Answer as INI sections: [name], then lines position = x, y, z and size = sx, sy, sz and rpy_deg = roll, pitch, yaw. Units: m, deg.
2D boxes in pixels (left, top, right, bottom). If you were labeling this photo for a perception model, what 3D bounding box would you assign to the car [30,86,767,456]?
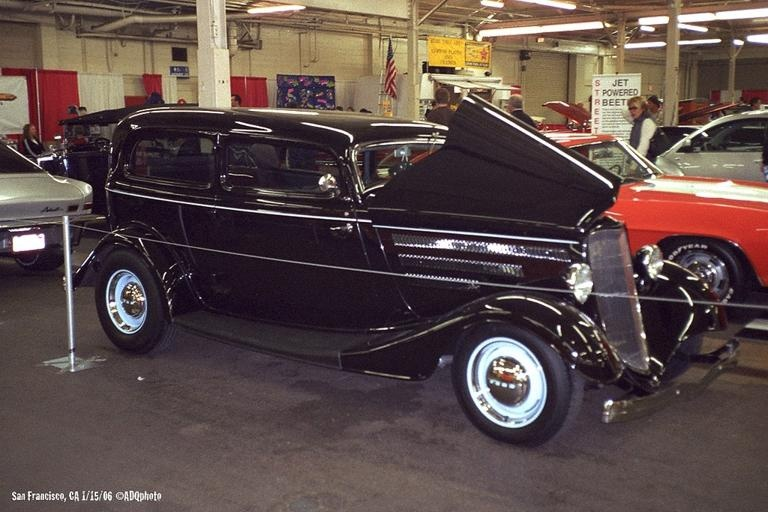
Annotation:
[car]
position = 0.069, -0.095, 5.118
size = 5.143, 2.541, 1.809
rpy_deg = 9, 16, 28
